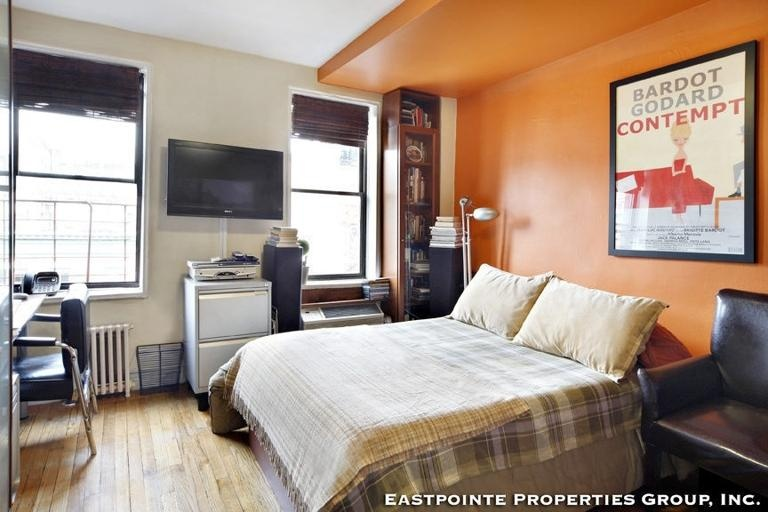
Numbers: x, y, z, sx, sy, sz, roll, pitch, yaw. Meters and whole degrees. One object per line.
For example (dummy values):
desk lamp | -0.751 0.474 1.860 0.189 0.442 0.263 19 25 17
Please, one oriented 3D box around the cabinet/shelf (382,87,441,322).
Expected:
cabinet/shelf | 0.285 -0.534 5.534 0.586 2.398 0.396 1 4 0

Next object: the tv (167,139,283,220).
tv | -1.445 -0.688 4.822 1.020 0.680 0.092 -1 5 -22

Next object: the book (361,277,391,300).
book | -0.079 0.345 5.501 0.336 0.248 0.197 -1 2 -21

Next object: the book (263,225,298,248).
book | -0.936 -0.176 4.881 0.263 0.131 0.192 5 4 37

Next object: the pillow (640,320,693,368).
pillow | 2.013 0.663 3.663 0.342 0.319 0.102 -38 3 -39
